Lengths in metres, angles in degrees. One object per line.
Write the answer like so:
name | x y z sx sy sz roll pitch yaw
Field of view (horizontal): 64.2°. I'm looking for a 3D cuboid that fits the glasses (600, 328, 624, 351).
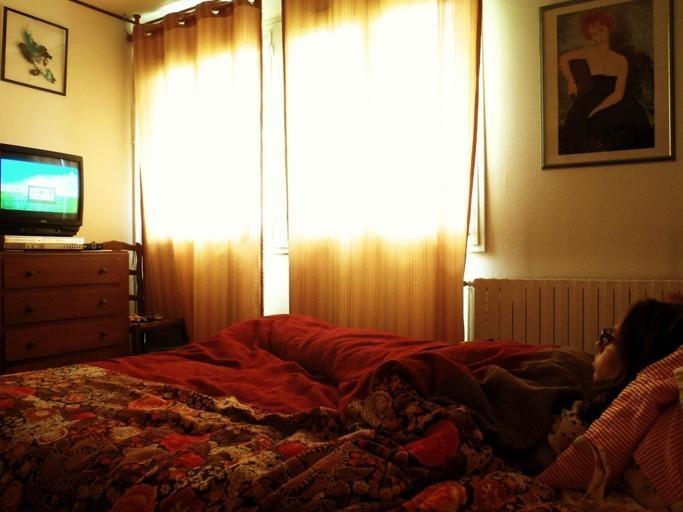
glasses | 0.803 0.247 1.600 0.055 0.020 0.053 30 2 6
